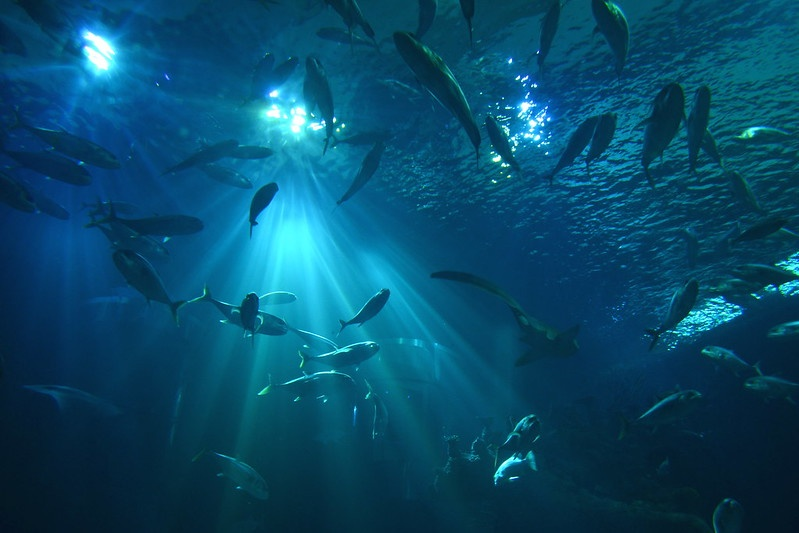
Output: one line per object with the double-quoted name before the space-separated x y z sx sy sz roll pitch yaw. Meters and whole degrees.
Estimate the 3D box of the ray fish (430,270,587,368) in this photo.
"ray fish" 3.494 0.812 18.265 4.195 0.774 2.302 39 -40 -17
